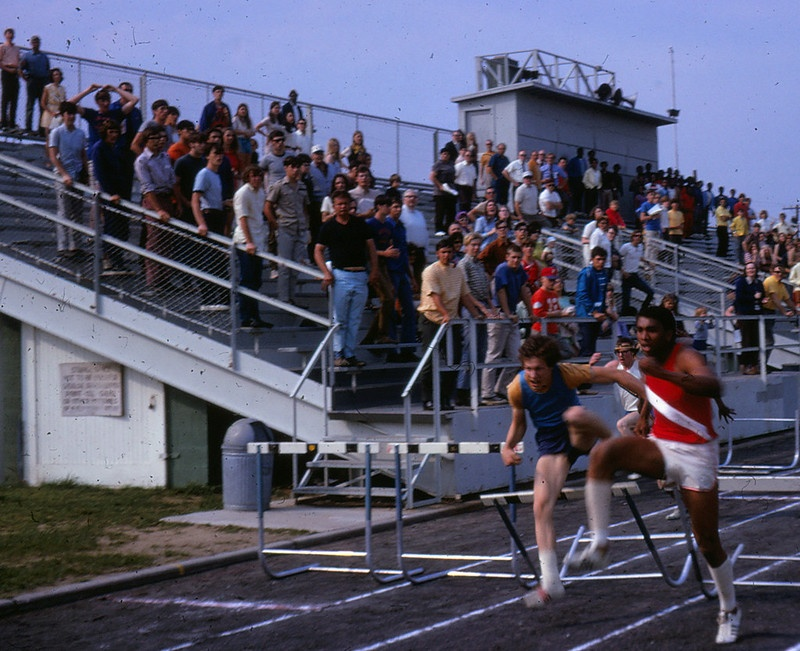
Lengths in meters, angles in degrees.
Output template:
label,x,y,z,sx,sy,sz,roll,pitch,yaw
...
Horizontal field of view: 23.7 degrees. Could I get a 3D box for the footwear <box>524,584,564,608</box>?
label,x,y,z,sx,sy,sz,roll,pitch,yaw
footwear,1.460,2.842,19.919,0.424,0.227,0.147,-8,-48,18

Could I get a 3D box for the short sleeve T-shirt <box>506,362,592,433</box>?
label,x,y,z,sx,sy,sz,roll,pitch,yaw
short sleeve T-shirt,1.667,0.805,20.614,1.099,0.705,0.499,-16,11,-8

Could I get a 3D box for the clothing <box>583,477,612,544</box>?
label,x,y,z,sx,sy,sz,roll,pitch,yaw
clothing,1.997,1.913,19.456,0.255,0.668,0.396,1,-4,5

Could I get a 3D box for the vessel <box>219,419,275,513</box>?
label,x,y,z,sx,sy,sz,roll,pitch,yaw
vessel,-1.963,1.810,24.631,0.830,1.153,0.720,-1,-2,3

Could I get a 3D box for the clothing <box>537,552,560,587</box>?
label,x,y,z,sx,sy,sz,roll,pitch,yaw
clothing,1.549,2.553,19.915,0.209,0.391,0.235,1,-4,4

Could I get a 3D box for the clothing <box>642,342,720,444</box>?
label,x,y,z,sx,sy,sz,roll,pitch,yaw
clothing,2.853,0.751,19.686,0.617,1.064,0.835,-23,19,-26

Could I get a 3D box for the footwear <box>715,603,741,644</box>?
label,x,y,z,sx,sy,sz,roll,pitch,yaw
footwear,3.320,3.082,19.396,0.159,0.466,0.227,-5,-34,48

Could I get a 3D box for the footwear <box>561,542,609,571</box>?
label,x,y,z,sx,sy,sz,roll,pitch,yaw
footwear,1.904,2.391,19.548,0.383,0.284,0.567,1,-3,3

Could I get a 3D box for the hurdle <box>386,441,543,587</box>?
label,x,y,z,sx,sy,sz,roll,pitch,yaw
hurdle,0.698,2.271,22.447,1.595,1.386,0.738,-2,-10,10

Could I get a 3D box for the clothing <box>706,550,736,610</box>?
label,x,y,z,sx,sy,sz,roll,pitch,yaw
clothing,3.285,2.654,19.548,0.273,0.529,0.335,1,-4,9
